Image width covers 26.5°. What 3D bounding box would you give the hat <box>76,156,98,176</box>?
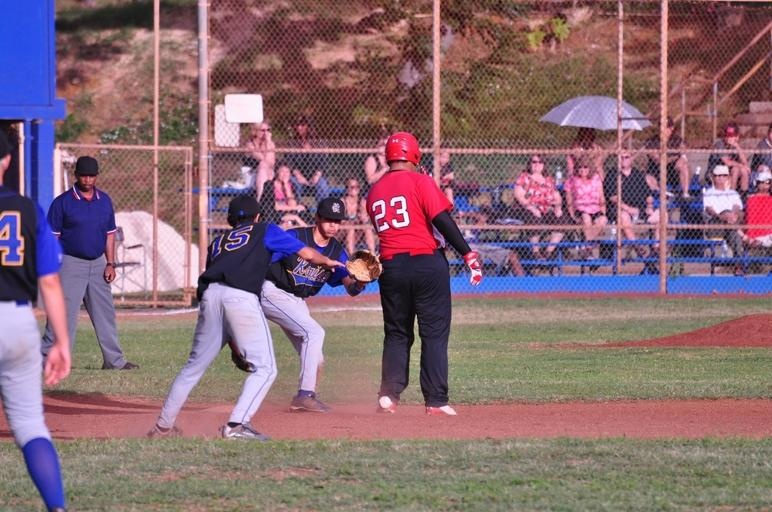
[{"bbox_3d":[-5.303,-1.614,29.357,0.372,0.378,0.429,0,1,-11],"label":"hat"}]

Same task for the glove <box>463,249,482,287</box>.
[{"bbox_3d":[1.461,0.184,27.227,0.361,0.535,0.223,-1,3,23],"label":"glove"}]

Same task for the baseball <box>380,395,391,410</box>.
[{"bbox_3d":[0.021,2.439,27.281,0.209,0.206,0.097,-36,3,12],"label":"baseball"}]

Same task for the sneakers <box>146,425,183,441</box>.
[{"bbox_3d":[-3.517,2.813,26.224,0.578,0.249,0.205,-2,9,-19],"label":"sneakers"}]

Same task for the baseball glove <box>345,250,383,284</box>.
[{"bbox_3d":[-0.349,0.175,26.904,0.581,0.542,0.248,1,1,-2],"label":"baseball glove"}]

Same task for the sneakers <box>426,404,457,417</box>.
[{"bbox_3d":[0.918,2.558,27.216,0.387,0.146,0.204,-2,1,-2],"label":"sneakers"}]

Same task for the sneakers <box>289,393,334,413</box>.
[{"bbox_3d":[-1.223,2.463,27.475,0.712,0.284,0.249,2,-3,-5],"label":"sneakers"}]
